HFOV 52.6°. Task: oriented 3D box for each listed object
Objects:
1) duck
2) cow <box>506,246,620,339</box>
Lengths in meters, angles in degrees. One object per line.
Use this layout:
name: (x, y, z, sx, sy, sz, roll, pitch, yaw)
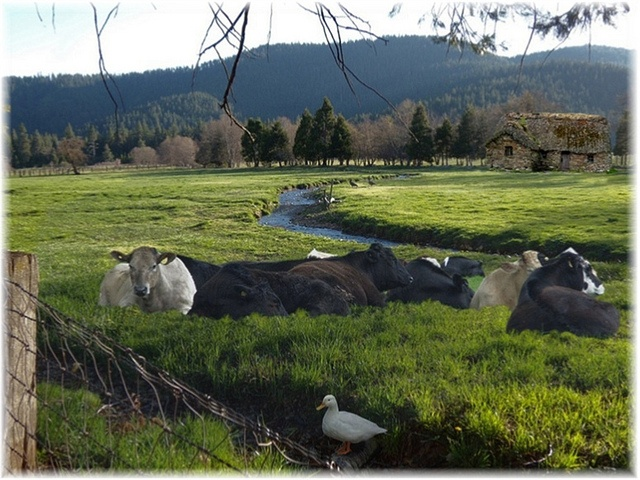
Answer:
duck: (0.499, 2.960, 10.440, 0.997, 0.972, 0.354, -1, 6, 4)
cow: (5.286, 1.382, 13.999, 1.958, 1.834, 3.750, 1, 12, 21)
